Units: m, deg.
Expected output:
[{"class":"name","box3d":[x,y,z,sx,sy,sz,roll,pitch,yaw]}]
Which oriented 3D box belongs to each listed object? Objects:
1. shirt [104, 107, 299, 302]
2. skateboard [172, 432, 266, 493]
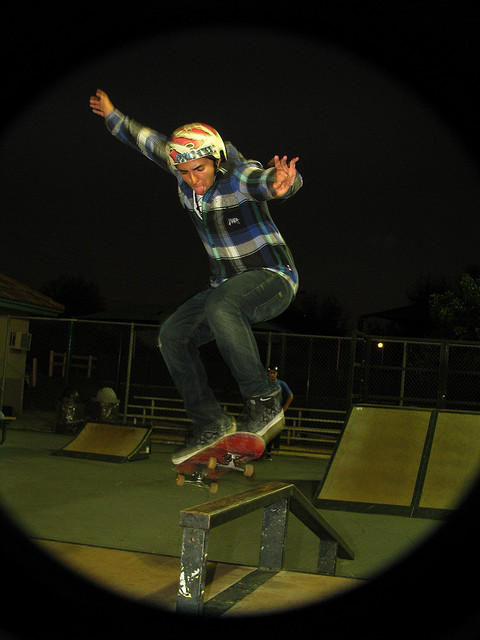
[{"class":"shirt","box3d":[-0.238,-0.763,3.004,1.433,0.997,0.541,4,-2,36]},{"class":"skateboard","box3d":[-0.051,0.820,2.943,0.323,0.162,0.568,15,-22,-3]}]
